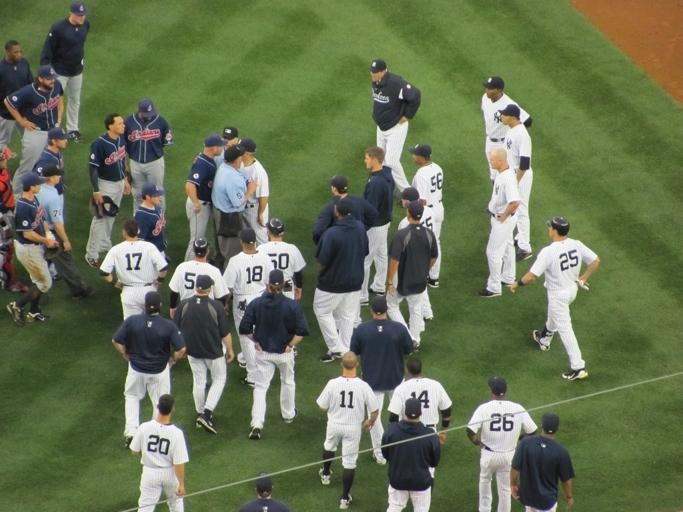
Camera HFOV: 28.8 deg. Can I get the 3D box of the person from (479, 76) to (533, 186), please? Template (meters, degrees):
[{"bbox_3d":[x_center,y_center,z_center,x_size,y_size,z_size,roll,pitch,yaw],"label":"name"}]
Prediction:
[{"bbox_3d":[3.009,-2.205,24.554,0.859,2.344,1.077,-24,50,-19],"label":"person"}]

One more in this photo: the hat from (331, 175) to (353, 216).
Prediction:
[{"bbox_3d":[0.003,-0.971,21.690,0.339,0.703,0.698,4,-5,-2],"label":"hat"}]

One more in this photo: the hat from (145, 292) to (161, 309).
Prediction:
[{"bbox_3d":[-2.826,0.670,20.153,0.195,0.265,0.148,2,-37,-12],"label":"hat"}]

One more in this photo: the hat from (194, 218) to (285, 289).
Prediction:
[{"bbox_3d":[-1.460,0.112,21.340,0.784,1.035,0.518,4,-5,-3],"label":"hat"}]

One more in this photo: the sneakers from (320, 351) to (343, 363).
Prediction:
[{"bbox_3d":[-0.155,1.684,22.214,0.375,0.167,0.141,-6,42,-7],"label":"sneakers"}]

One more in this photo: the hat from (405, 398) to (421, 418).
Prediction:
[{"bbox_3d":[1.050,2.231,19.326,0.252,0.308,0.220,5,-5,-8],"label":"hat"}]

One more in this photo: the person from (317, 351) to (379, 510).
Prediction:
[{"bbox_3d":[0.086,2.651,20.098,0.895,2.363,0.798,2,-5,22],"label":"person"}]

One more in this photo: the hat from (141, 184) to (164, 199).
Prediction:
[{"bbox_3d":[-3.060,-1.021,21.778,0.347,0.259,0.231,6,-5,-18],"label":"hat"}]

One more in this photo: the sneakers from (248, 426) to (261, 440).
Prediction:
[{"bbox_3d":[-1.338,2.801,20.967,0.179,0.202,0.108,5,-5,-9],"label":"sneakers"}]

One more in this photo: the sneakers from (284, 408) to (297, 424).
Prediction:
[{"bbox_3d":[-0.777,2.568,21.255,0.268,0.240,0.142,7,-5,-31],"label":"sneakers"}]

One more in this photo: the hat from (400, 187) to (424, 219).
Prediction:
[{"bbox_3d":[1.161,-0.974,22.437,0.316,0.288,0.488,-7,41,-16],"label":"hat"}]

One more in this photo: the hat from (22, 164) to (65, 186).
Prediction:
[{"bbox_3d":[-4.915,-1.287,22.014,0.565,0.277,0.337,-4,19,-11],"label":"hat"}]

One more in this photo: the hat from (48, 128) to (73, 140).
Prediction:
[{"bbox_3d":[-4.798,-2.056,22.876,0.326,0.159,0.221,2,15,-14],"label":"hat"}]

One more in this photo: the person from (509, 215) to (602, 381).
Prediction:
[{"bbox_3d":[3.600,0.738,22.123,1.180,2.633,1.366,4,-5,9],"label":"person"}]

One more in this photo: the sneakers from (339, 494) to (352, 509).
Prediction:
[{"bbox_3d":[0.071,3.708,20.160,0.097,0.115,0.259,7,36,13],"label":"sneakers"}]

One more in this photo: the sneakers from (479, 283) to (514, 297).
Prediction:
[{"bbox_3d":[2.704,0.647,23.519,0.634,0.246,0.225,-4,17,-11],"label":"sneakers"}]

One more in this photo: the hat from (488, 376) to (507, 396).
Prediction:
[{"bbox_3d":[2.333,1.964,19.964,0.250,0.298,0.482,4,-5,5],"label":"hat"}]

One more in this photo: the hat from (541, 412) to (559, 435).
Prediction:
[{"bbox_3d":[3.017,2.454,19.397,0.244,0.300,0.298,2,47,5],"label":"hat"}]

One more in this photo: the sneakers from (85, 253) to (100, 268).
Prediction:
[{"bbox_3d":[-4.313,0.114,23.428,0.311,0.132,0.125,39,43,23],"label":"sneakers"}]

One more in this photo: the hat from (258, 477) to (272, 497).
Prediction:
[{"bbox_3d":[-1.074,3.251,18.749,0.208,0.279,0.179,5,-5,-10],"label":"hat"}]

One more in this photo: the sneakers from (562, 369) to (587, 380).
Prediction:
[{"bbox_3d":[3.818,1.962,21.993,0.463,0.219,0.159,-1,23,4],"label":"sneakers"}]

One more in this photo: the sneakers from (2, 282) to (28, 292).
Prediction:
[{"bbox_3d":[-5.567,0.560,23.038,0.477,0.222,0.168,0,28,-10],"label":"sneakers"}]

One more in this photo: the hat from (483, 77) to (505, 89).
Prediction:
[{"bbox_3d":[2.787,-3.137,24.452,0.343,0.185,0.247,7,41,5],"label":"hat"}]

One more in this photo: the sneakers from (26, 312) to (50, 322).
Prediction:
[{"bbox_3d":[-5.077,1.020,22.488,0.354,0.147,0.156,-3,-39,-18],"label":"sneakers"}]

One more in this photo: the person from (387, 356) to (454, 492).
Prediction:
[{"bbox_3d":[1.284,2.644,20.228,0.950,2.139,0.503,-1,13,18],"label":"person"}]

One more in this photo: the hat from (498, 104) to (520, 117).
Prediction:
[{"bbox_3d":[3.010,-2.567,23.720,0.283,0.153,0.197,13,29,7],"label":"hat"}]

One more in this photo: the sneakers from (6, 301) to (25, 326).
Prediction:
[{"bbox_3d":[-5.408,0.969,22.407,0.213,0.475,0.176,-15,19,14],"label":"sneakers"}]

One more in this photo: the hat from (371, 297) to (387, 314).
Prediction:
[{"bbox_3d":[0.578,0.761,20.407,0.239,0.278,0.287,4,-5,-4],"label":"hat"}]

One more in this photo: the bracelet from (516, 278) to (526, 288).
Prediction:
[{"bbox_3d":[2.973,0.460,22.136,0.166,0.078,0.221,4,-3,2],"label":"bracelet"}]

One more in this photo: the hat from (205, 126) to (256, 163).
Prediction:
[{"bbox_3d":[-1.932,-1.941,22.994,0.497,0.406,0.807,11,22,22],"label":"hat"}]

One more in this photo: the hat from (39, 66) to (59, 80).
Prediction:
[{"bbox_3d":[-5.161,-3.206,23.645,0.315,0.167,0.231,8,27,10],"label":"hat"}]

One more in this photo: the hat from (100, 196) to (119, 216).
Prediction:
[{"bbox_3d":[-3.999,-0.843,23.096,0.103,0.340,0.285,-17,-1,35],"label":"hat"}]

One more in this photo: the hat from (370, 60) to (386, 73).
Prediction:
[{"bbox_3d":[0.727,-3.424,24.355,0.313,0.175,0.222,-9,38,-36],"label":"hat"}]

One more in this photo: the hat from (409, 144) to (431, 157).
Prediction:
[{"bbox_3d":[1.372,-1.809,22.999,0.306,0.185,0.226,33,42,21],"label":"hat"}]

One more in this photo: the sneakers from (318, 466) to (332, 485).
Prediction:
[{"bbox_3d":[-0.228,3.384,20.473,0.140,0.272,0.119,0,-25,-15],"label":"sneakers"}]

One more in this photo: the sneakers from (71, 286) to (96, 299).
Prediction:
[{"bbox_3d":[-4.409,0.663,22.922,0.393,0.137,0.167,-19,-36,5],"label":"sneakers"}]

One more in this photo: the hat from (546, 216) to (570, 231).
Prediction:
[{"bbox_3d":[3.534,-0.492,21.689,0.207,0.239,0.272,2,26,-10],"label":"hat"}]

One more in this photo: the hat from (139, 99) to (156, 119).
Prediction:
[{"bbox_3d":[-3.375,-2.548,23.148,0.253,0.331,0.173,-24,-23,-18],"label":"hat"}]
